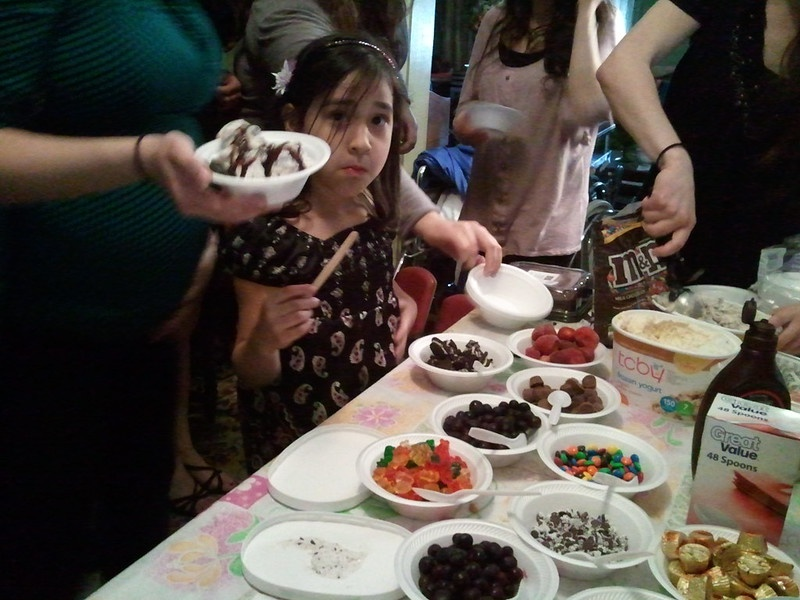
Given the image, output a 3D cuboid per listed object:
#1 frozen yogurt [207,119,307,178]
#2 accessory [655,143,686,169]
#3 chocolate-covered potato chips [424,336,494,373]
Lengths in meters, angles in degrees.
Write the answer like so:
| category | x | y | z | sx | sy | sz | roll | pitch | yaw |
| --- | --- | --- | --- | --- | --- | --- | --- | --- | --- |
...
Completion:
| category | x | y | z | sx | sy | sz | roll | pitch | yaw |
| --- | --- | --- | --- | --- | --- | --- | --- | --- | --- |
| frozen yogurt | -0.308 | -0.322 | 1.305 | 0.196 | 0.121 | 0.244 | 13 | 18 | 35 |
| accessory | 0.786 | -0.421 | 1.748 | 0.066 | 0.073 | 0.056 | 3 | 30 | 12 |
| chocolate-covered potato chips | 0.134 | 0.129 | 1.585 | 0.181 | 0.073 | 0.209 | -1 | 15 | 0 |
